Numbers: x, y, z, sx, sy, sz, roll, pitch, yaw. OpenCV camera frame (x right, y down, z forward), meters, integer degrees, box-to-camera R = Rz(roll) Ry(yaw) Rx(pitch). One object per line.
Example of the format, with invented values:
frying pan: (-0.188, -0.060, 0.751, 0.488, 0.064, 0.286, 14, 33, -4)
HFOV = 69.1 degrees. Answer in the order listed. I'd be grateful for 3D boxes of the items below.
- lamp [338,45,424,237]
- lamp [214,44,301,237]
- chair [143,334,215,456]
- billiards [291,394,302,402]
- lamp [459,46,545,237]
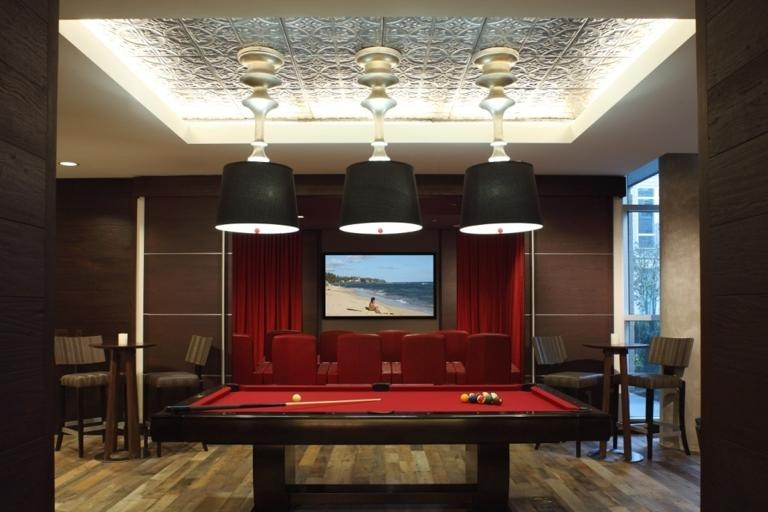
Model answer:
lamp: (-0.057, -0.928, 4.075, 0.561, 1.515, 0.551, -1, -7, -5)
lamp: (-0.918, -0.933, 4.059, 0.548, 1.518, 0.590, -3, -7, 7)
chair: (-2.496, 1.580, 6.831, 0.755, 1.101, 0.709, -5, 9, -37)
billiards: (-0.670, 1.077, 4.240, 0.060, 0.041, 0.074, -3, 0, -35)
lamp: (0.789, -0.864, 3.991, 0.556, 1.349, 0.479, -3, -7, 8)
